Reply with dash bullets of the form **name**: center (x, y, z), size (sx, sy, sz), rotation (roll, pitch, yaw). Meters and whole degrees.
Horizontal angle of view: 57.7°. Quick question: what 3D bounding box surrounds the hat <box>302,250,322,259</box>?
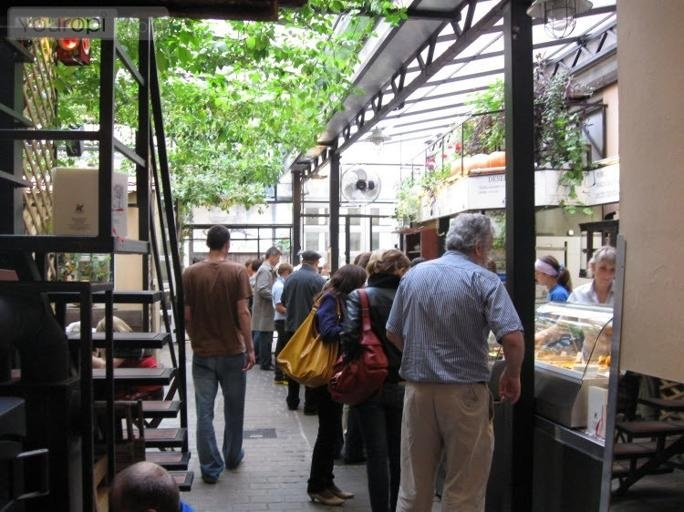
- **hat**: center (-0.424, -0.022, 8.444), size (0.302, 0.135, 0.389), rotation (3, 4, 6)

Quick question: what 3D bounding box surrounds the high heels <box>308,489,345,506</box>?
- **high heels**: center (-0.118, 1.823, 4.727), size (0.292, 0.140, 0.101), rotation (-7, -7, 17)

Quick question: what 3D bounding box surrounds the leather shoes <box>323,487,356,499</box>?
- **leather shoes**: center (-0.017, 1.793, 4.783), size (0.253, 0.112, 0.082), rotation (3, -9, 20)

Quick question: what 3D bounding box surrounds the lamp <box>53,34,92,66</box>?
- **lamp**: center (-1.951, -1.483, 4.498), size (0.225, 0.153, 0.451), rotation (0, 0, -25)

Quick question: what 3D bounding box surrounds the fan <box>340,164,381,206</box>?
- **fan**: center (0.374, -1.470, 12.832), size (0.789, 0.741, 0.592), rotation (0, 1, 2)

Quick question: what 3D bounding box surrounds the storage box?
- **storage box**: center (-1.126, -0.205, 2.891), size (0.347, 0.352, 0.355), rotation (0, -2, -12)

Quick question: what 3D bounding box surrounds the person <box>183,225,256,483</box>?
- **person**: center (-1.039, 0.792, 5.193), size (0.557, 2.101, 0.506), rotation (0, 1, -15)

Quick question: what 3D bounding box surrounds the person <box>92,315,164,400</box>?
- **person**: center (-1.516, 0.766, 4.432), size (0.484, 0.643, 1.666), rotation (0, 0, -21)

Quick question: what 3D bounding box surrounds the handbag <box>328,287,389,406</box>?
- **handbag**: center (0.107, 0.600, 4.084), size (0.339, 0.739, 0.290), rotation (0, 1, -13)
